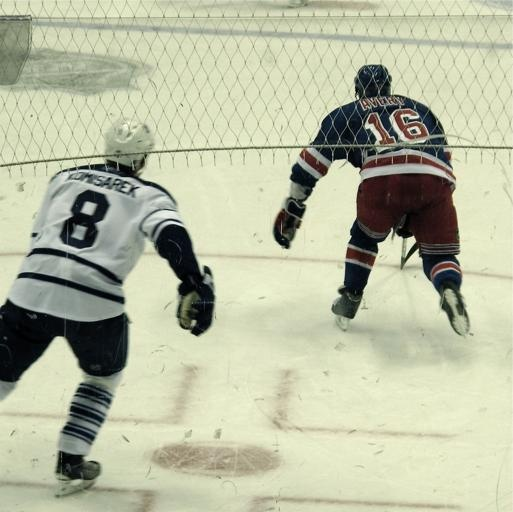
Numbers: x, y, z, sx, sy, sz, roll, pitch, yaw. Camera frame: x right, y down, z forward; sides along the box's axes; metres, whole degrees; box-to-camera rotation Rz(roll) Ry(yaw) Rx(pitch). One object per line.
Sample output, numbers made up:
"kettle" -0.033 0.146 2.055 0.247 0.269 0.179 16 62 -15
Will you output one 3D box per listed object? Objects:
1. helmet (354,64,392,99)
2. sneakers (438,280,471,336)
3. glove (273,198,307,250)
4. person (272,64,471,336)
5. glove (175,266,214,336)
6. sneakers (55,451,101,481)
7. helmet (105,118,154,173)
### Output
"helmet" 0.720 -1.076 5.328 0.170 0.235 0.230 1 15 8
"sneakers" 1.160 0.308 5.084 0.119 0.348 0.151 -17 -7 15
"glove" 0.218 -0.235 5.823 0.172 0.319 0.113 24 30 9
"person" 0.752 -0.309 5.277 1.382 1.594 0.664 15 20 22
"glove" -0.261 0.198 3.782 0.143 0.295 0.121 8 12 28
"sneakers" -0.792 0.930 3.847 0.192 0.137 0.106 -2 7 -16
"helmet" -0.576 -0.540 4.092 0.190 0.250 0.252 26 38 35
